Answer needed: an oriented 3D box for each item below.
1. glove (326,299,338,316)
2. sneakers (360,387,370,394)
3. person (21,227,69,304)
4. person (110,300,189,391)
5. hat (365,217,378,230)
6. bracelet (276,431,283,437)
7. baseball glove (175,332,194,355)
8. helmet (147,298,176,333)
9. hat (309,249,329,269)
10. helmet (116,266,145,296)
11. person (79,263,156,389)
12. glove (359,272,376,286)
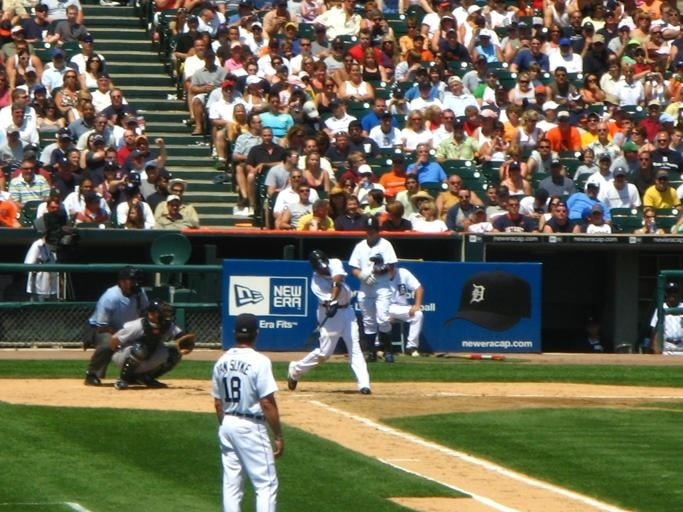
[{"bbox_3d":[-0.146,0.832,27.439,0.163,0.257,0.117,0,-2,0],"label":"glove"},{"bbox_3d":[0.407,2.189,27.789,0.132,0.096,0.099,-12,10,-22],"label":"sneakers"},{"bbox_3d":[-5.342,0.203,30.571,0.623,1.212,0.860,1,-2,-10],"label":"person"},{"bbox_3d":[-3.106,1.421,27.662,1.258,1.393,0.980,8,5,-16],"label":"person"},{"bbox_3d":[0.532,-0.571,28.950,0.207,0.205,0.296,0,-2,2],"label":"hat"},{"bbox_3d":[-0.822,2.389,22.939,0.094,0.092,0.089,-1,2,-16],"label":"bracelet"},{"bbox_3d":[-2.538,1.421,27.609,0.295,0.326,0.422,1,-2,-7],"label":"baseball glove"},{"bbox_3d":[-2.892,0.949,27.266,0.408,0.502,0.275,1,-2,-12],"label":"helmet"},{"bbox_3d":[-0.354,0.047,27.594,0.321,0.293,0.313,0,-2,6],"label":"hat"},{"bbox_3d":[-3.395,0.391,27.360,0.387,0.474,0.427,0,-2,-22],"label":"helmet"},{"bbox_3d":[-3.623,1.135,27.727,1.199,1.865,1.077,2,22,-47],"label":"person"},{"bbox_3d":[0.479,0.381,29.280,0.177,0.069,0.230,14,25,2],"label":"glove"}]
